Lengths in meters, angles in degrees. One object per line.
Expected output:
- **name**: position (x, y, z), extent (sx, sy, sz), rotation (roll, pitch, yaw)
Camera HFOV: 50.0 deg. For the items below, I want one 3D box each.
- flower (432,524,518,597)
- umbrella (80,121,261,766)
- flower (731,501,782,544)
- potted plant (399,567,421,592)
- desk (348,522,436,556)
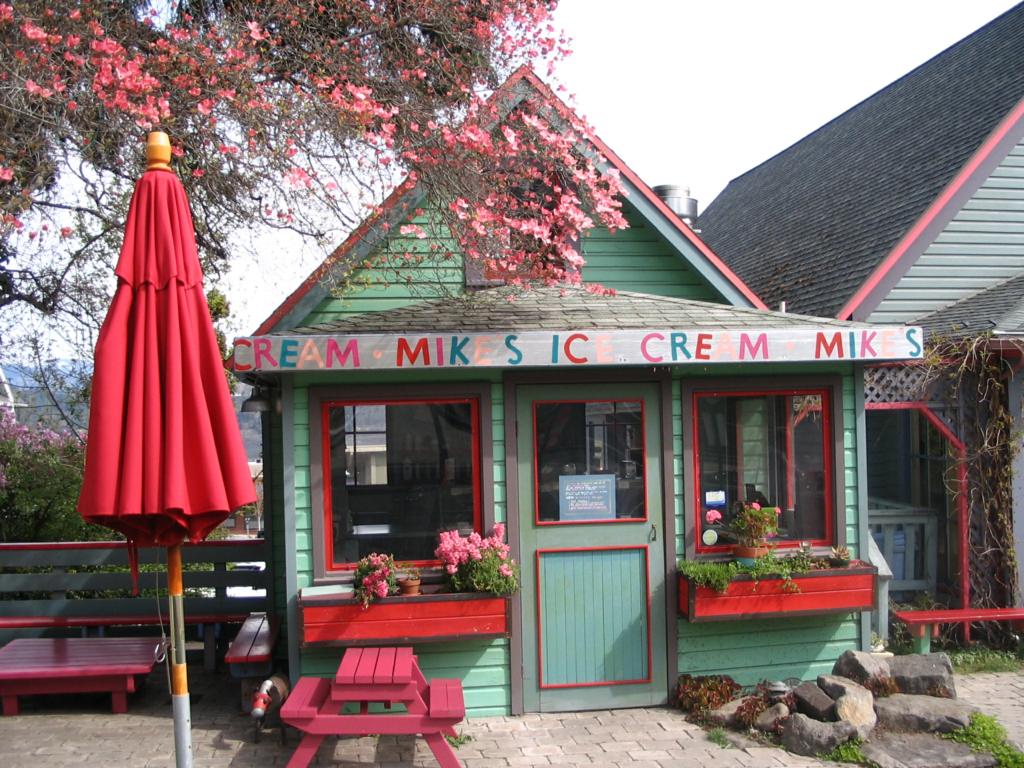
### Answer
- **flower**: position (-0.323, 1.729, 10.888), extent (0.656, 0.542, 0.736), rotation (3, -6, -18)
- **umbrella**: position (-2.690, 0.280, 8.550), extent (1.189, 4.579, 0.597), rotation (3, -10, -23)
- **flower**: position (2.536, 1.477, 11.475), extent (0.462, 0.436, 0.404), rotation (3, -8, -15)
- **potted plant**: position (-1.016, 1.947, 10.906), extent (0.214, 0.222, 0.210), rotation (3, -8, -37)
- **desk**: position (-1.183, 1.591, 11.293), extent (0.593, 0.260, 0.376), rotation (0, 1, -7)
